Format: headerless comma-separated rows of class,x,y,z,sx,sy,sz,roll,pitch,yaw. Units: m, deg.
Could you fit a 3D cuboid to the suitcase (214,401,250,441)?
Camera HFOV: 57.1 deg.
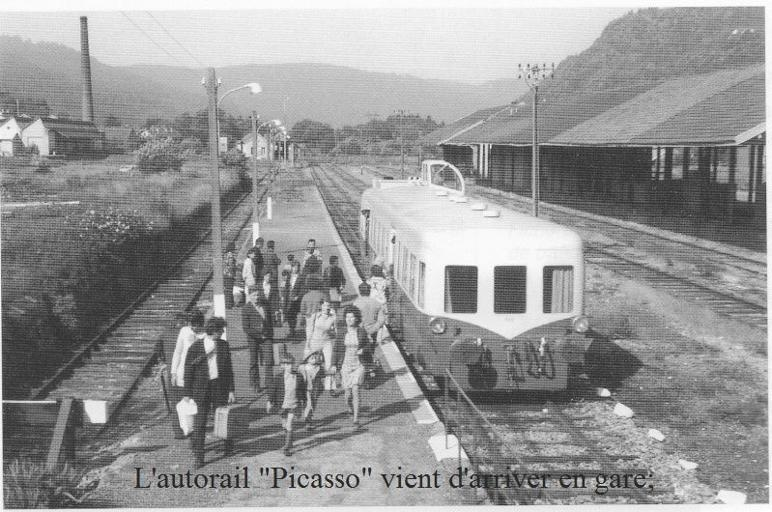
suitcase,-2.657,2.828,12.109,0.475,0.607,0.872,0,0,13

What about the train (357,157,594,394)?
train,1.459,0.330,15.654,3.360,3.067,6.579,-2,14,-9

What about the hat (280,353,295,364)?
hat,-1.569,1.648,11.349,0.208,0.195,0.279,-1,14,-7
